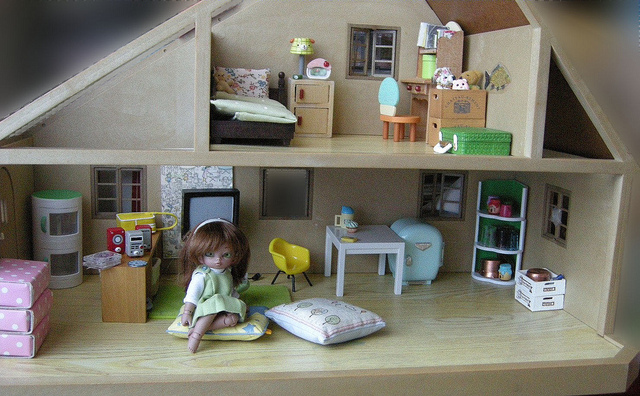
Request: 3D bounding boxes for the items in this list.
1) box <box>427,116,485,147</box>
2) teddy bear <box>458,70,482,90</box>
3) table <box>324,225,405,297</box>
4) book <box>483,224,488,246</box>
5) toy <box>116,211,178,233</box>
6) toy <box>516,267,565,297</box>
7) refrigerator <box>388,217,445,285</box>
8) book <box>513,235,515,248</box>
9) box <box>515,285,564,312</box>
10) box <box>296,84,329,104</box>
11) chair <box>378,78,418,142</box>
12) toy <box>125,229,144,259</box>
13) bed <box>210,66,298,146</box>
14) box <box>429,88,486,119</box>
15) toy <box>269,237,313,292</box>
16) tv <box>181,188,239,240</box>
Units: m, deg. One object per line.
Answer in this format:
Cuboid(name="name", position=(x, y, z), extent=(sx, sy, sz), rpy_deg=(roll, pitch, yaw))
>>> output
Cuboid(name="box", position=(1.991, -0.950, 7.415), extent=(0.588, 0.319, 0.551), rpy_deg=(0, 6, -5))
Cuboid(name="teddy bear", position=(2.259, -1.744, 7.418), extent=(0.349, 0.313, 0.256), rpy_deg=(-6, -14, 38))
Cuboid(name="table", position=(0.616, 0.955, 8.106), extent=(1.249, 0.910, 1.101), rpy_deg=(-1, 11, -10))
Cuboid(name="book", position=(2.848, 0.644, 8.489), extent=(0.052, 0.331, 0.207), rpy_deg=(0, 6, 16))
Cuboid(name="toy", position=(-2.669, 0.377, 7.719), extent=(1.015, 0.301, 0.696), rpy_deg=(-4, 13, -20))
Cuboid(name="toy", position=(3.420, 1.269, 7.610), extent=(0.489, 0.224, 0.451), rpy_deg=(-2, 6, -17))
Cuboid(name="refrigerator", position=(1.658, 0.883, 8.079), extent=(0.933, 1.074, 1.075), rpy_deg=(0, 5, -7))
Cuboid(name="book", position=(3.259, 0.736, 8.317), extent=(0.030, 0.182, 0.009), rpy_deg=(-5, 7, -30))
Cuboid(name="box", position=(3.411, 1.552, 7.710), extent=(0.388, 0.352, 0.467), rpy_deg=(0, 8, -13))
Cuboid(name="box", position=(-0.097, -1.562, 7.920), extent=(0.502, 0.265, 0.292), rpy_deg=(0, 6, -1))
Cuboid(name="chair", position=(1.338, -1.410, 7.842), extent=(0.664, 0.918, 0.662), rpy_deg=(-1, 16, -24))
Cuboid(name="toy", position=(-2.579, 0.673, 7.053), extent=(0.268, 0.339, 0.270), rpy_deg=(-4, 3, -35))
Cuboid(name="bed", position=(-0.992, -1.342, 7.143), extent=(1.276, 0.783, 1.572), rpy_deg=(2, 22, -7))
Cuboid(name="box", position=(2.050, -1.406, 7.416), extent=(0.543, 0.440, 0.819), rpy_deg=(-4, 16, -20))
Cuboid(name="toy", position=(-0.486, 1.031, 7.938), extent=(0.612, 0.656, 0.657), rpy_deg=(8, 12, 28))
Cuboid(name="tv", position=(-1.572, 0.323, 7.957), extent=(1.073, 0.846, 0.590), rpy_deg=(-2, -6, 20))
